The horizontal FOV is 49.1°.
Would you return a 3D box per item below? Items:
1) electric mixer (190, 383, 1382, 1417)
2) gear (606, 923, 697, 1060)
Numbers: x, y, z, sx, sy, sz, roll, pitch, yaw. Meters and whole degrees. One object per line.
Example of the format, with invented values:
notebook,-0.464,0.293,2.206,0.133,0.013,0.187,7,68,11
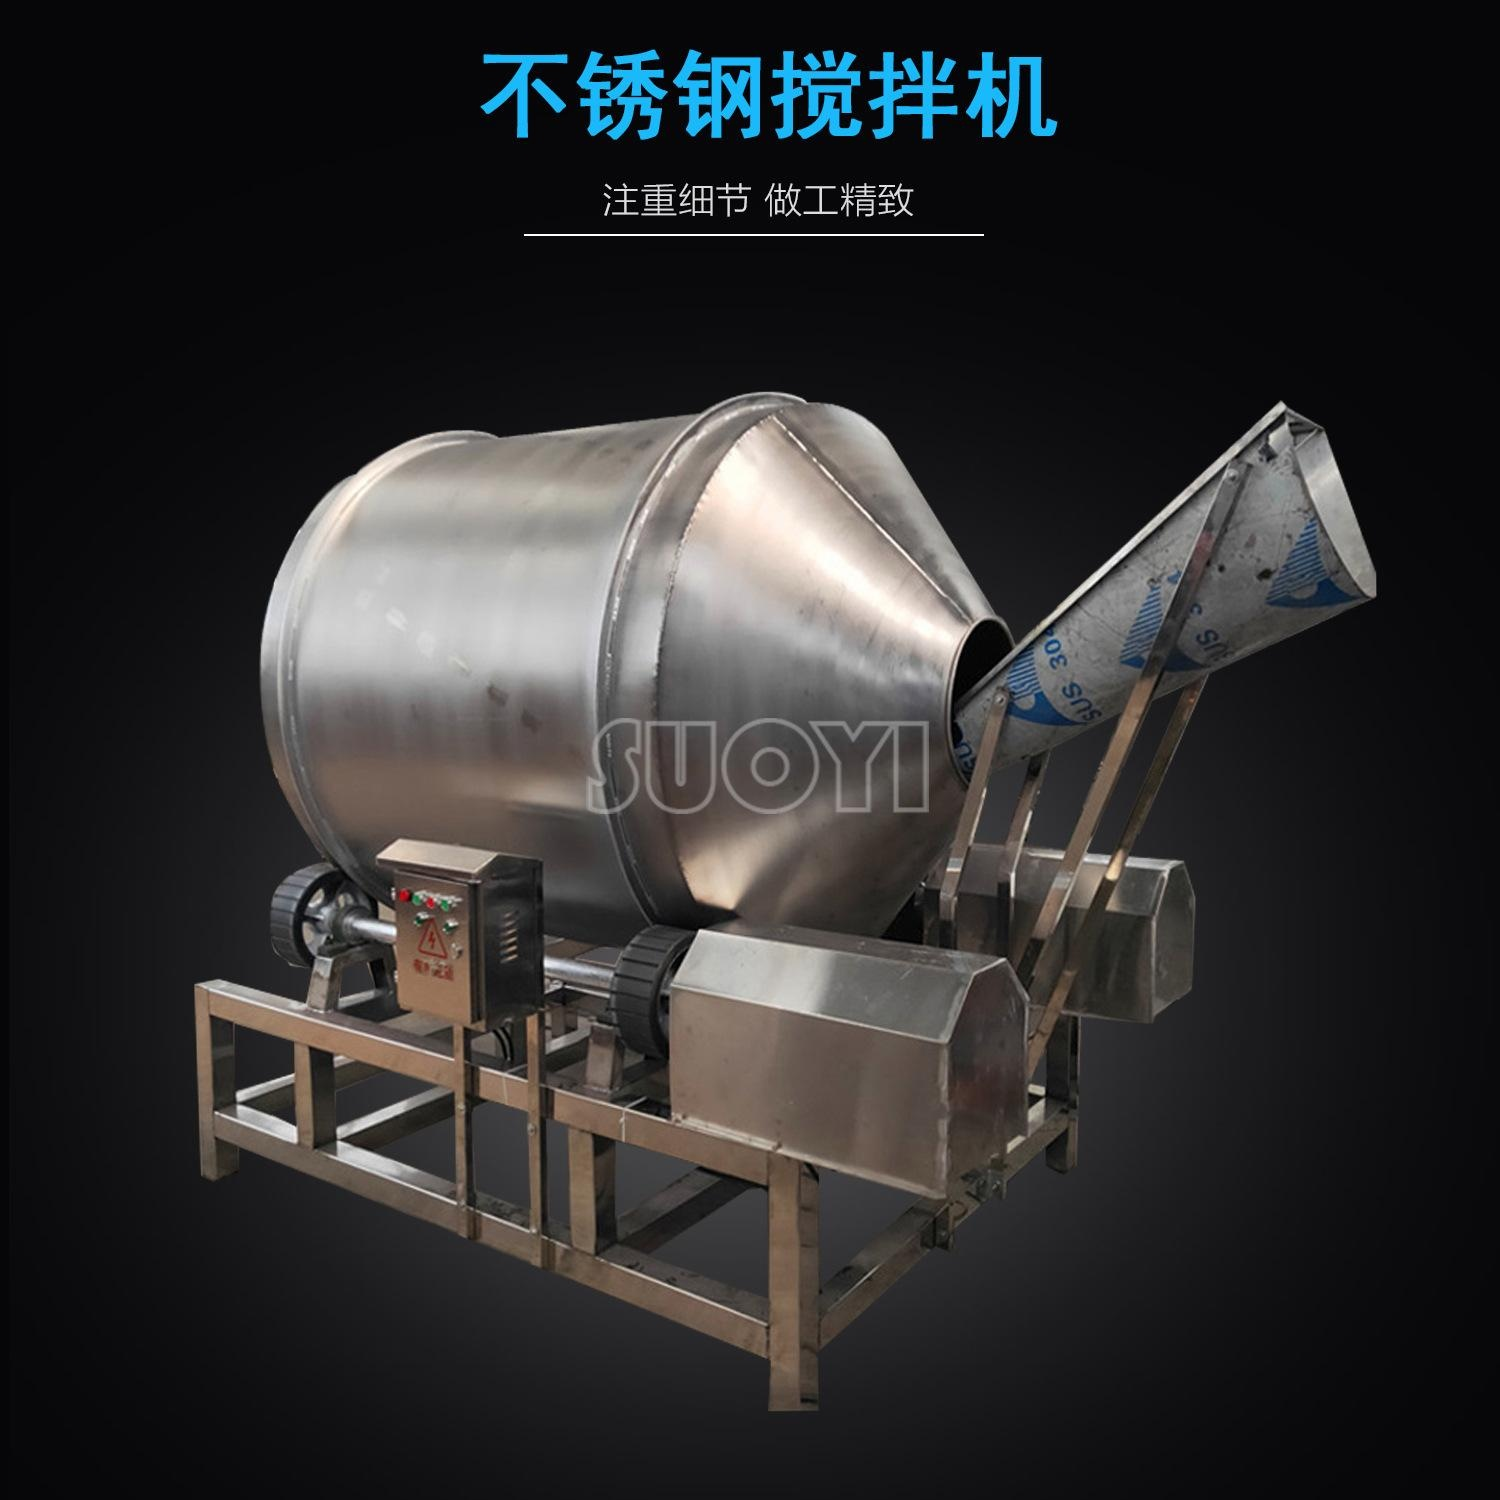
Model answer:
electric mixer,-0.022,0.197,4.179,2.865,2.014,1.884,6,10,37
gear,-0.203,0.547,3.649,0.123,0.277,0.285,5,24,21
